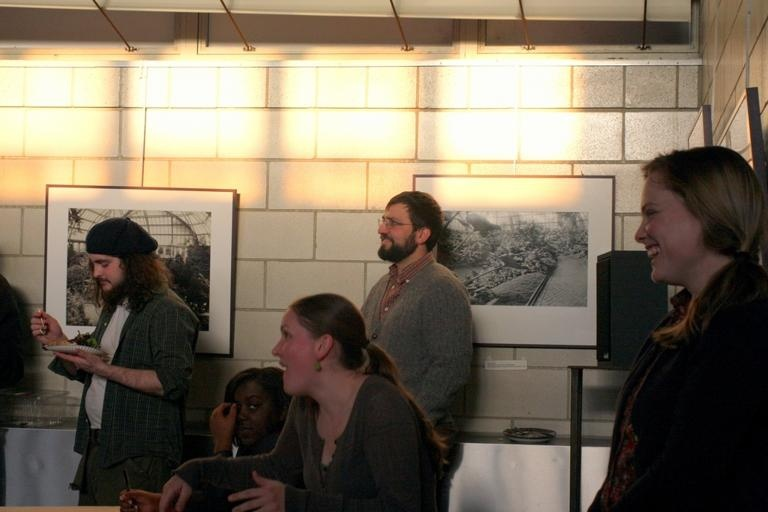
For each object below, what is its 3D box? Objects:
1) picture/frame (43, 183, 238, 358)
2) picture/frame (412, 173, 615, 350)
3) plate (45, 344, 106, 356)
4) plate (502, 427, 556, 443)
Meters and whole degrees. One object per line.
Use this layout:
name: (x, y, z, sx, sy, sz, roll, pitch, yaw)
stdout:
picture/frame: (-1.423, 0.120, 4.775, 1.160, 0.945, 0.042, 1, -3, -3)
picture/frame: (0.824, 0.072, 4.778, 1.145, 0.934, 0.037, 0, -4, 4)
plate: (-1.613, 0.492, 4.135, 0.296, 0.063, 0.203, 0, -3, 10)
plate: (0.892, 1.097, 4.849, 0.312, 0.074, 0.201, 0, -3, 7)
